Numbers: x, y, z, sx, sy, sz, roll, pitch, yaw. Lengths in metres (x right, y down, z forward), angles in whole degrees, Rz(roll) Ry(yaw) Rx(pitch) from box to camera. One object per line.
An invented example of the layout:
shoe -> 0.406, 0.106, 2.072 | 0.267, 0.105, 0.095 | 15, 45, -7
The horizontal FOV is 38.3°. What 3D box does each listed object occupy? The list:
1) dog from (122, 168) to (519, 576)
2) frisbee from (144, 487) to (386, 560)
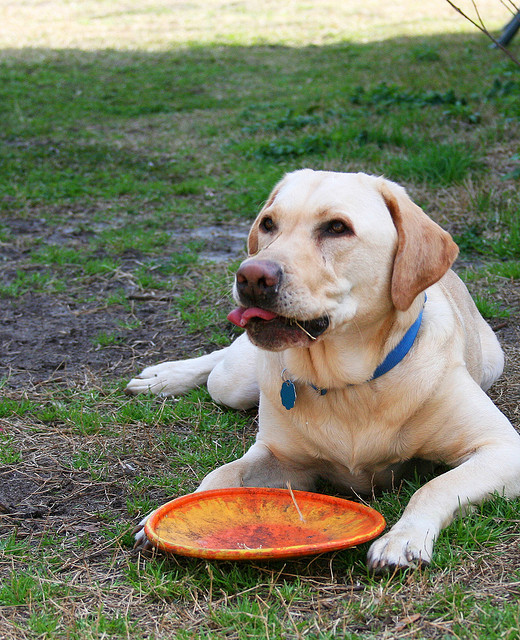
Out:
dog -> 0.428, 0.153, 2.927 | 1.164, 1.416, 1.071 | 10, 25, 31
frisbee -> 0.030, 0.726, 2.686 | 0.817, 0.148, 0.548 | -2, 17, 0
